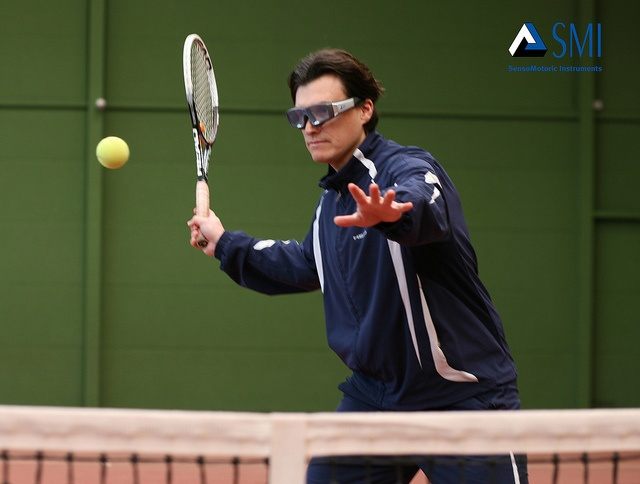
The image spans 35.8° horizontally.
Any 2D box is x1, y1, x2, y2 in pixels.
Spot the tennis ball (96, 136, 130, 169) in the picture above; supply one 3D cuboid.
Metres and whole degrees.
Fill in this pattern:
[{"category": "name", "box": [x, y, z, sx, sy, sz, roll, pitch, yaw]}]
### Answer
[{"category": "tennis ball", "box": [-1.356, -0.569, 6.508, 0.196, 0.274, 0.201, -7, -11, -1]}]
